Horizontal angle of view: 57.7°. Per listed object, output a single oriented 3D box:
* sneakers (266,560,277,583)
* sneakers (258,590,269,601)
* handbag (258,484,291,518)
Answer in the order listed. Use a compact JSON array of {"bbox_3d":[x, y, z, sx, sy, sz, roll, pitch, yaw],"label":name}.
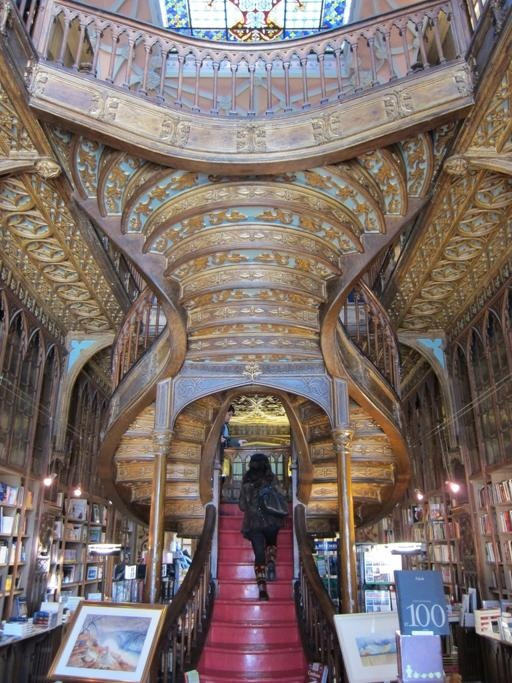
[{"bbox_3d":[0.166,2.565,5.204,0.090,0.270,0.107,-1,-3,3],"label":"sneakers"},{"bbox_3d":[0.072,2.752,5.018,0.101,0.128,0.165,-2,-23,2],"label":"sneakers"},{"bbox_3d":[0.184,1.815,5.274,0.331,0.357,0.284,1,-23,-5],"label":"handbag"}]
